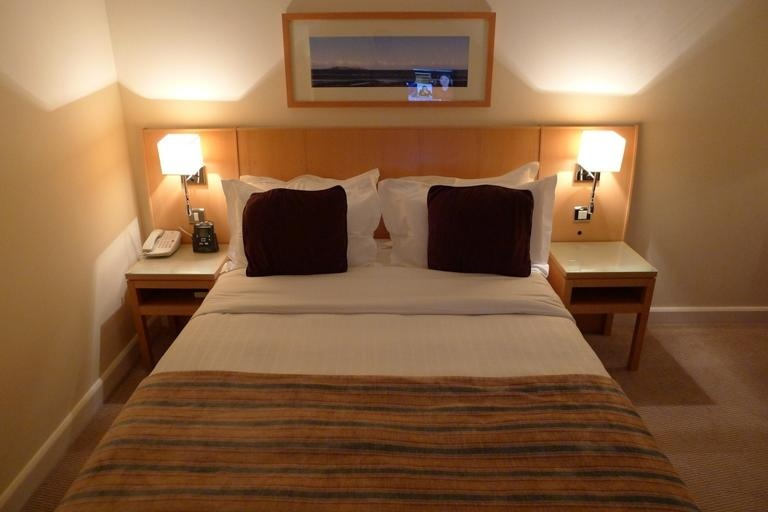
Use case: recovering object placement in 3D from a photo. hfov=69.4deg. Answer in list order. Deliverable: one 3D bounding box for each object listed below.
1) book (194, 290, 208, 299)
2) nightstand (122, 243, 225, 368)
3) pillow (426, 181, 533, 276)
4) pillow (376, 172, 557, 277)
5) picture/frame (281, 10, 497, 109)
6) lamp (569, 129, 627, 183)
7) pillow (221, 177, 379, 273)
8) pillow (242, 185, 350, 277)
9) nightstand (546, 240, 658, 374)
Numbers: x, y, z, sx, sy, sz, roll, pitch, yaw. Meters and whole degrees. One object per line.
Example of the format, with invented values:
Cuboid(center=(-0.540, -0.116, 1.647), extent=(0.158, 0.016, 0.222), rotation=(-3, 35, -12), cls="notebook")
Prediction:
Cuboid(center=(-1.302, 0.266, 3.941), extent=(0.082, 0.073, 0.048), rotation=(-1, -14, 0), cls="book")
Cuboid(center=(-1.448, 0.389, 4.132), extent=(0.637, 0.719, 0.522), rotation=(-1, 17, 5), cls="nightstand")
Cuboid(center=(0.634, -0.182, 3.717), extent=(0.749, 0.596, 0.298), rotation=(5, 1, 13), cls="pillow")
Cuboid(center=(0.549, -0.204, 3.700), extent=(0.742, 0.446, 0.175), rotation=(6, 2, 11), cls="pillow")
Cuboid(center=(0.032, -1.380, 3.921), extent=(1.464, 0.619, 0.087), rotation=(0, 19, 1), cls="picture/frame")
Cuboid(center=(1.485, -0.705, 4.004), extent=(0.375, 0.402, 0.314), rotation=(6, 26, 17), cls="lamp")
Cuboid(center=(-0.471, -0.214, 3.883), extent=(1.081, 0.654, 0.299), rotation=(-1, -7, 2), cls="pillow")
Cuboid(center=(-0.574, -0.154, 3.422), extent=(0.636, 0.567, 0.182), rotation=(-3, 8, -2), cls="pillow")
Cuboid(center=(1.565, 0.360, 4.169), extent=(0.605, 0.766, 0.654), rotation=(2, 19, 6), cls="nightstand")
